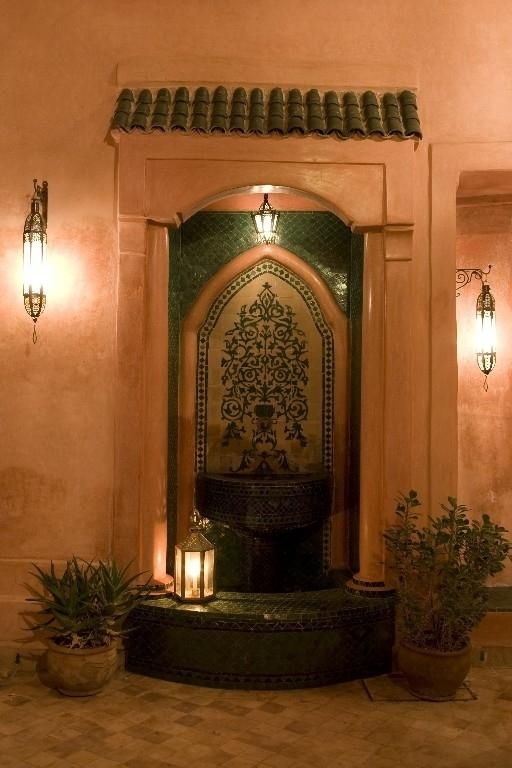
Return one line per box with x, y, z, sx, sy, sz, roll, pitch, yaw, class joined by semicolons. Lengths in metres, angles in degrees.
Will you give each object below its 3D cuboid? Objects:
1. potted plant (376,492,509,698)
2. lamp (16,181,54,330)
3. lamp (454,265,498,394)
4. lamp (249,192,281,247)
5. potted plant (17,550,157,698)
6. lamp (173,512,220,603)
1.191;1.293;4.680;0.739;1.257;0.681;0;-2;9;potted plant
-1.506;-0.872;5.022;0.164;1.129;0.254;1;-2;-18;lamp
1.778;-0.474;5.906;0.311;1.013;0.187;0;-2;14;lamp
0.077;-1.298;5.533;0.209;0.446;0.168;-2;0;0;lamp
-1.078;1.503;4.691;0.705;0.792;0.799;1;-1;-16;potted plant
-0.408;1.150;4.967;0.275;0.579;0.346;1;-2;-24;lamp
